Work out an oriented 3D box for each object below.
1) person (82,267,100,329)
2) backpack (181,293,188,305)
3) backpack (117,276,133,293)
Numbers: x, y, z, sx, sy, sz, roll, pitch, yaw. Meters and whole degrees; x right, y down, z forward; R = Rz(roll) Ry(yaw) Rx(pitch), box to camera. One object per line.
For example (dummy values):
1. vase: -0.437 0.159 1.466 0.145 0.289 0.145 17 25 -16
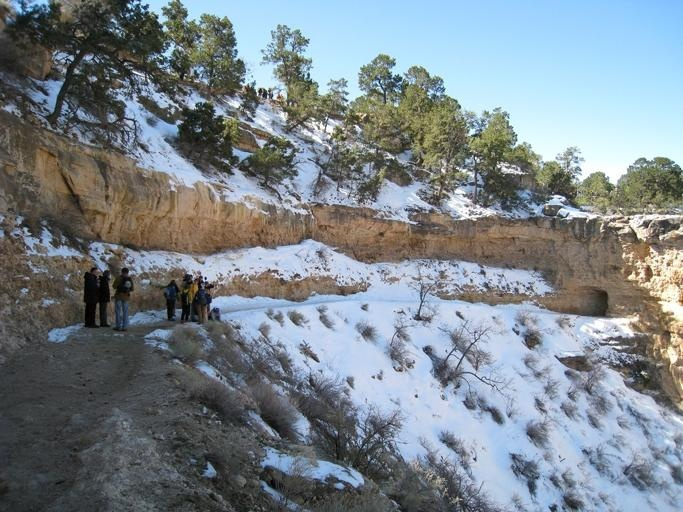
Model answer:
1. person: -9.678 1.562 23.119 0.549 2.297 0.743 4 3 -25
2. backpack: -6.748 1.814 25.782 0.136 0.537 0.648 3 4 -39
3. backpack: -8.460 1.103 23.389 0.564 0.608 0.258 5 2 -29
